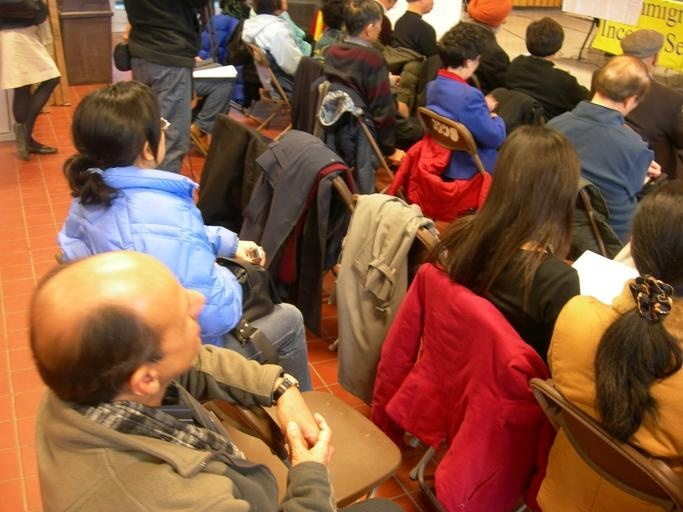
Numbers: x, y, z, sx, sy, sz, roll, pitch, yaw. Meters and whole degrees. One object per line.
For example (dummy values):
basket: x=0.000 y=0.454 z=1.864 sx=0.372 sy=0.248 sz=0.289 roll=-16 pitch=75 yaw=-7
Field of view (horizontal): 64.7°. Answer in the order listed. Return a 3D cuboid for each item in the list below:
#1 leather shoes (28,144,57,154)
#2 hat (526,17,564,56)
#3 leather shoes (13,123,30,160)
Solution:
leather shoes: x=-2.629 y=-0.940 z=4.758 sx=0.240 sy=0.096 sz=0.084 roll=-3 pitch=14 yaw=-17
hat: x=1.455 y=-1.574 z=3.911 sx=0.227 sy=0.279 sz=0.291 roll=10 pitch=23 yaw=26
leather shoes: x=-2.752 y=-0.964 z=4.574 sx=0.108 sy=0.363 sz=0.139 roll=-2 pitch=0 yaw=14
